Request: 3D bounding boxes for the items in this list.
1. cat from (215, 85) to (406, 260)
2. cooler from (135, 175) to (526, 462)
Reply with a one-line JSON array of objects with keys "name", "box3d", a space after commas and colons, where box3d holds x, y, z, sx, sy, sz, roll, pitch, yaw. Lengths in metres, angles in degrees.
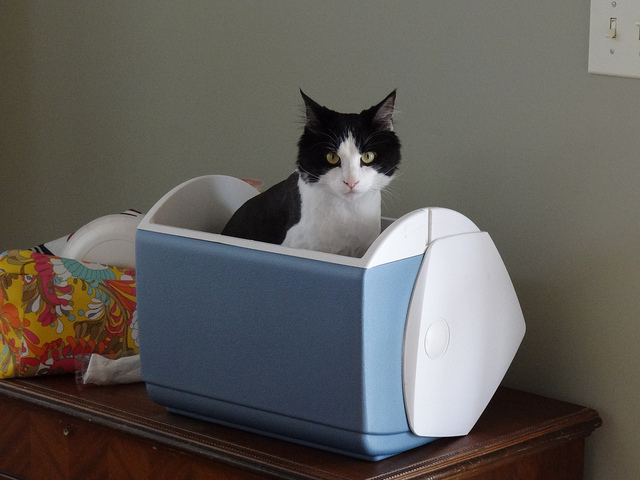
[{"name": "cat", "box3d": [-0.008, -0.074, 1.126, 0.212, 0.334, 0.339, -3, 10, -21]}, {"name": "cooler", "box3d": [-0.043, 0.106, 1.126, 0.442, 0.374, 0.327, 8, 16, 31]}]
